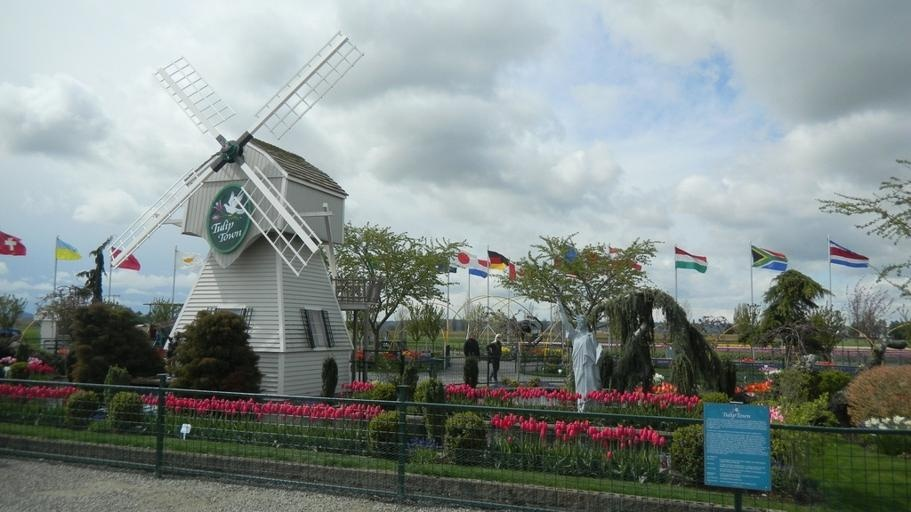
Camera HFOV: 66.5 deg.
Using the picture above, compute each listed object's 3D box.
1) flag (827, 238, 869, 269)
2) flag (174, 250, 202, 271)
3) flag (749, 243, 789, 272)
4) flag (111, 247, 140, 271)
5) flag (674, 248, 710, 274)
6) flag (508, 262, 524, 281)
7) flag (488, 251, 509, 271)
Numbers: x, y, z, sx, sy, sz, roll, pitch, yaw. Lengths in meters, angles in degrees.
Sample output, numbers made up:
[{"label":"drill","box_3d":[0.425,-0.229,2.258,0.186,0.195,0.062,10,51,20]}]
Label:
[{"label":"flag","box_3d":[20.582,0.100,36.569,0.234,1.490,2.019,39,-21,-34]},{"label":"flag","box_3d":[-18.851,0.359,48.763,2.431,0.425,2.552,5,29,-13]},{"label":"flag","box_3d":[17.429,0.259,38.584,1.679,1.237,0.318,7,-19,45]},{"label":"flag","box_3d":[-15.708,0.128,32.862,1.426,0.233,1.315,15,-41,-18]},{"label":"flag","box_3d":[13.491,0.396,39.848,1.805,1.882,0.205,4,-30,21]},{"label":"flag","box_3d":[3.760,0.967,42.875,0.129,0.479,1.248,-6,17,-33]},{"label":"flag","box_3d":[2.826,0.390,46.225,1.403,1.209,0.411,3,-13,14]}]
